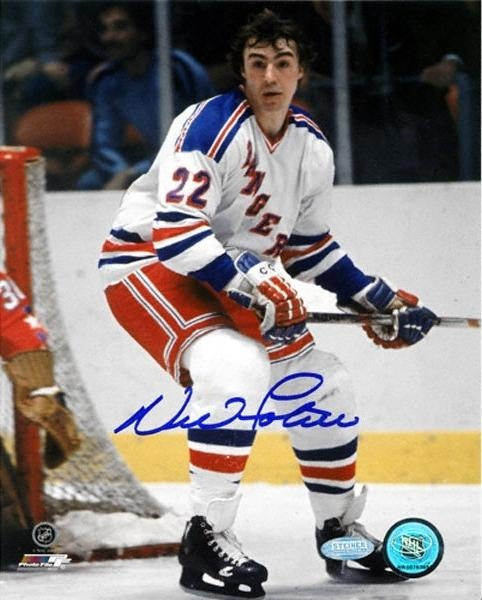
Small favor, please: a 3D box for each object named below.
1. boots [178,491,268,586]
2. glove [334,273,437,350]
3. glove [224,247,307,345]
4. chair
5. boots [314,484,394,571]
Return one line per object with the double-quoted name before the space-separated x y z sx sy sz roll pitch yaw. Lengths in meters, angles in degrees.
"boots" -0.047 0.566 2.541 0.203 0.251 0.094 -2 8 2
"glove" 0.367 0.029 2.838 0.236 0.103 0.172 31 42 5
"glove" 0.060 -0.003 2.509 0.104 0.243 0.131 -39 6 31
"chair" -0.477 -0.419 2.967 0.198 0.204 0.203 -6 -13 21
"boots" 0.269 0.572 2.732 0.203 0.202 0.089 -2 14 12
